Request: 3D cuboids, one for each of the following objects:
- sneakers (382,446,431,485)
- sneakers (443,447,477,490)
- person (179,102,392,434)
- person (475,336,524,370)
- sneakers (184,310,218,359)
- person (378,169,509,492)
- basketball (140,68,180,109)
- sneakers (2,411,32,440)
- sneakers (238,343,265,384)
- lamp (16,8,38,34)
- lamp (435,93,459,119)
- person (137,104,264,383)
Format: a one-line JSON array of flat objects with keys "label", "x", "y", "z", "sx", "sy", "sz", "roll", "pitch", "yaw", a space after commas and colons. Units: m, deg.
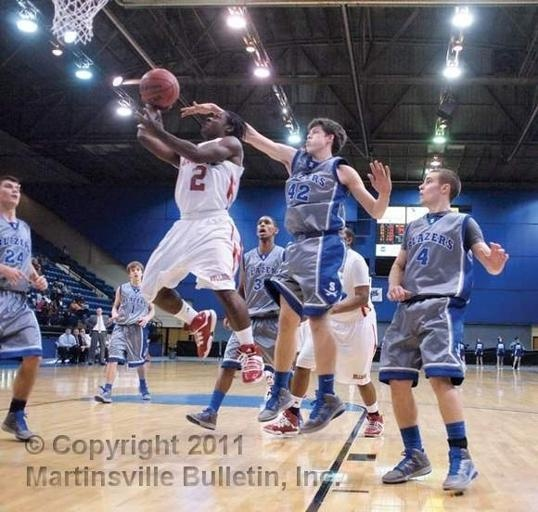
[{"label": "sneakers", "x": 0.585, "y": 0.889, "z": 2.162, "sx": 0.245, "sy": 0.115, "sz": 0.081, "roll": -4, "pitch": -4, "yaw": -23}, {"label": "sneakers", "x": 0.763, "y": 0.850, "z": 2.020, "sx": 0.088, "sy": 0.136, "sz": 0.259, "roll": -14, "pitch": -9, "yaw": 22}, {"label": "person", "x": 0.330, "y": 0.036, "z": 2.840, "sx": 0.661, "sy": 1.810, "sz": 0.323, "roll": -1, "pitch": -10, "yaw": 27}, {"label": "person", "x": 9.305, "y": 3.881, "z": 20.317, "sx": 1.335, "sy": 0.786, "sz": 0.394, "roll": 0, "pitch": -26, "yaw": 8}, {"label": "sneakers", "x": -0.452, "y": 0.453, "z": 3.335, "sx": 0.148, "sy": 0.262, "sz": 0.413, "roll": 3, "pitch": 18, "yaw": -3}, {"label": "person", "x": 0.773, "y": 0.236, "z": 2.281, "sx": 0.540, "sy": 1.477, "sz": 0.470, "roll": 0, "pitch": -10, "yaw": 24}, {"label": "basketball", "x": -0.623, "y": -0.969, "z": 3.026, "sx": 0.249, "sy": 0.235, "sz": 0.240, "roll": -8, "pitch": -21, "yaw": -8}, {"label": "sneakers", "x": -1.415, "y": 0.959, "z": 2.848, "sx": 0.152, "sy": 0.165, "sz": 0.293, "roll": 9, "pitch": -11, "yaw": -28}, {"label": "sneakers", "x": -0.112, "y": 0.616, "z": 3.008, "sx": 0.130, "sy": 0.158, "sz": 0.371, "roll": -12, "pitch": 15, "yaw": 1}, {"label": "lamp", "x": -4.868, "y": -4.800, "z": 10.245, "sx": 0.369, "sy": 0.440, "sz": 0.498, "roll": 9, "pitch": -11, "yaw": -27}, {"label": "lamp", "x": 4.898, "y": -4.253, "z": 14.012, "sx": 0.424, "sy": 0.917, "sz": 0.865, "roll": 2, "pitch": -10, "yaw": 14}, {"label": "person", "x": -0.445, "y": -0.122, "z": 3.124, "sx": 0.947, "sy": 1.760, "sz": 0.900, "roll": 5, "pitch": -17, "yaw": -9}]
